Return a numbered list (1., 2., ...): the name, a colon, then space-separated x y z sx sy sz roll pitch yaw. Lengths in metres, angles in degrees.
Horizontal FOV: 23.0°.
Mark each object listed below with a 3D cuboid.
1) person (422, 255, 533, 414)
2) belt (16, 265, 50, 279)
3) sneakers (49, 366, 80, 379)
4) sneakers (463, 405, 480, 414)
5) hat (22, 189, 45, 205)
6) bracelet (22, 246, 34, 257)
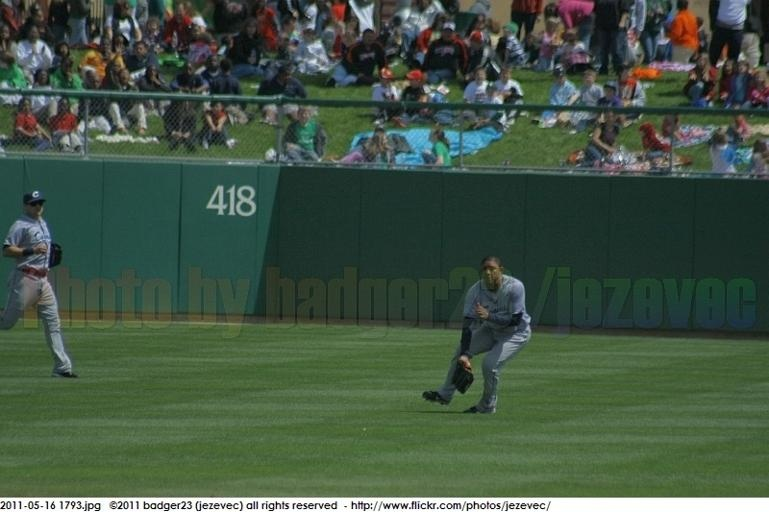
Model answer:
1. person: 1.808 1.388 33.805 1.584 2.766 0.704 0 2 -5
2. belt: -6.462 0.259 34.719 0.371 0.152 0.279 9 6 17
3. sneakers: -5.904 2.103 34.810 0.532 0.222 0.175 2 8 -4
4. sneakers: 1.581 2.718 33.902 0.232 0.095 0.129 1 -2 37
5. hat: -6.532 -1.110 34.929 0.316 0.215 0.424 -1 -8 -23
6. bracelet: -6.537 -0.107 34.598 0.149 0.140 0.150 -11 22 -42
